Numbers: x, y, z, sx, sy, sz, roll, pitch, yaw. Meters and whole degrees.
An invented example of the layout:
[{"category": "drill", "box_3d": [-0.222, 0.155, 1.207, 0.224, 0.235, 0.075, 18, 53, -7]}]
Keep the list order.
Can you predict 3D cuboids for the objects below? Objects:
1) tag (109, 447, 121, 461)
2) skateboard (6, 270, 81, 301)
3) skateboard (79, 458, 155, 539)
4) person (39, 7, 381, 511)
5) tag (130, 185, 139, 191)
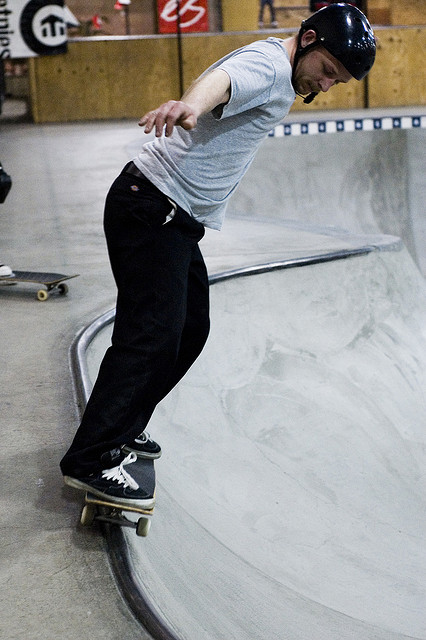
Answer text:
[{"category": "tag", "box_3d": [-0.301, 0.403, 1.947, 0.003, 0.030, 0.052, -4, 9, 18]}, {"category": "skateboard", "box_3d": [-1.190, -0.253, 4.502, 0.690, 0.111, 0.176, 8, 16, 34]}, {"category": "skateboard", "box_3d": [-0.265, 0.520, 2.005, 0.206, 0.111, 0.435, 11, 17, -11]}, {"category": "person", "box_3d": [-0.007, -0.165, 1.948, 0.693, 1.481, 0.643, 5, 14, 26]}, {"category": "tag", "box_3d": [-0.236, -0.390, 1.908, 0.012, 0.006, 0.016, 14, -21, 16]}]
